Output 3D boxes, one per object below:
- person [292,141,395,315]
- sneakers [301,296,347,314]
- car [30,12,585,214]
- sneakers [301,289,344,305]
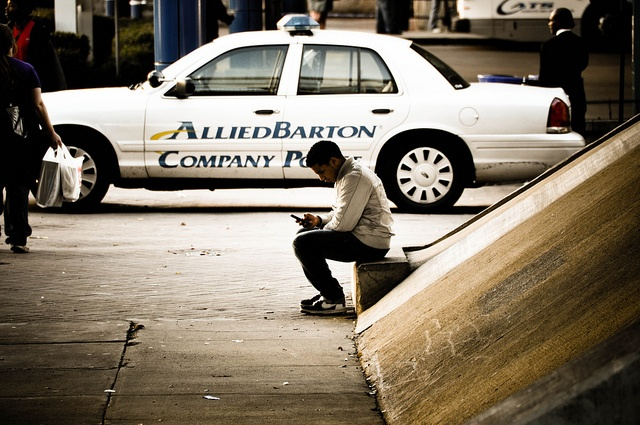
[{"bbox_3d":[0.204,0.137,9.120,0.878,1.474,0.512,3,19,-2],"label":"person"},{"bbox_3d":[0.051,0.836,9.235,0.436,0.183,0.152,4,-3,-7],"label":"sneakers"},{"bbox_3d":[-0.066,-1.299,13.317,6.454,2.050,2.516,1,3,3],"label":"car"},{"bbox_3d":[0.020,0.761,9.172,0.403,0.152,0.132,4,-7,-2],"label":"sneakers"}]
